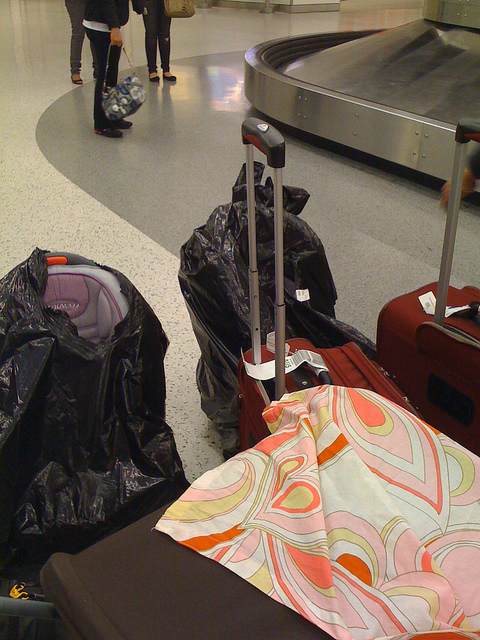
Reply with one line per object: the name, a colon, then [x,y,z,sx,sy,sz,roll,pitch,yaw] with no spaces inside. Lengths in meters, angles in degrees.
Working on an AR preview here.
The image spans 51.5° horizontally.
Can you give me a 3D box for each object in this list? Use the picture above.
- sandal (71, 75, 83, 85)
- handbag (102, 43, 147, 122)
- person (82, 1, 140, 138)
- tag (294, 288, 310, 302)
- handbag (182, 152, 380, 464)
sandal: [-1.595,-2.308,4.838,0.134,0.068,0.042,1,23,1]
handbag: [-0.808,-1.723,3.420,0.233,0.699,0.168,-15,10,-20]
person: [-0.978,-1.925,3.755,0.348,1.109,1.449,-4,15,-15]
tag: [0.177,-0.066,1.405,0.040,0.056,0.026,-4,0,4]
handbag: [0.074,-0.098,1.653,0.428,0.485,0.792,-3,40,-3]
